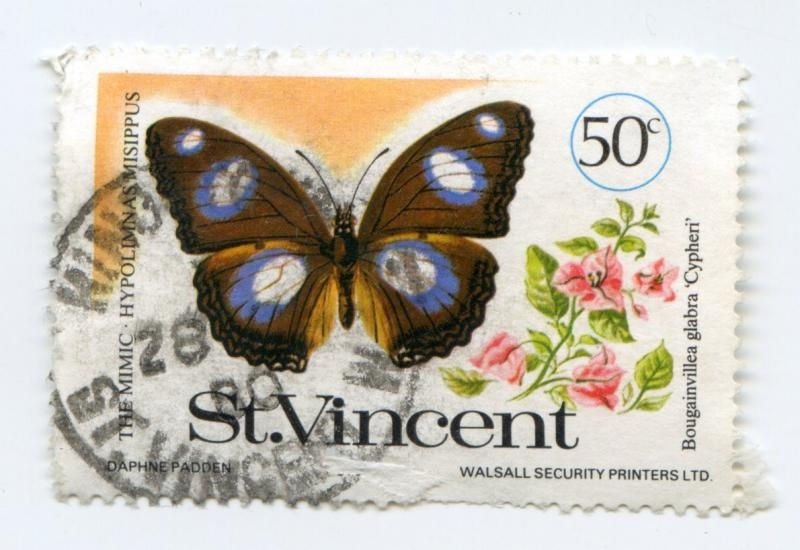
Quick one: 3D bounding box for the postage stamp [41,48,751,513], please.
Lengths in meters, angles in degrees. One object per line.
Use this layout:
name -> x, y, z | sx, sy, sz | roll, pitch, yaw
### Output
postage stamp -> -0.007, -0.043, 4.710 | 2.358, 1.429, 0.023 | 0, -8, -5

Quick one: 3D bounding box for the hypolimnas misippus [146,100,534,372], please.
hypolimnas misippus -> -0.162, -0.151, 4.734 | 1.286, 0.941, 0.323 | -10, 11, -8
